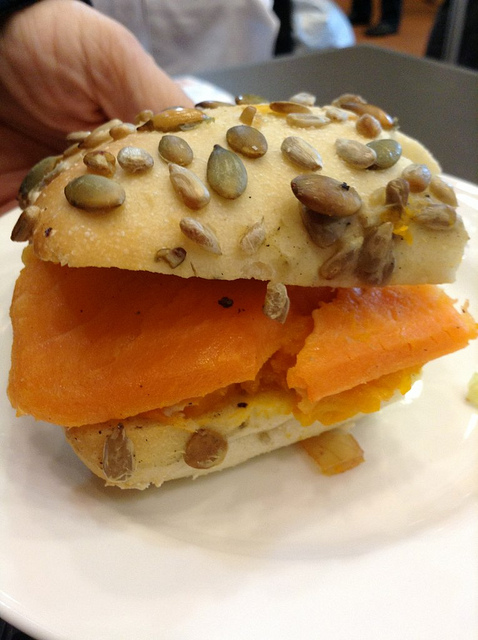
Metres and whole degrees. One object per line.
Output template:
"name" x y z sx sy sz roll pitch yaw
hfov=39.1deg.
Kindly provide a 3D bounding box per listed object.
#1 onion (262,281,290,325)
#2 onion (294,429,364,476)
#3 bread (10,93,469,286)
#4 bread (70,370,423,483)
"onion" 0.052 -0.022 0.846 0.041 0.044 0.012 1 10 -8
"onion" 0.145 0.198 1.013 0.099 0.054 0.083 -10 24 -18
"bread" -0.013 -0.176 0.919 0.855 0.284 0.102 -5 26 -8
"bread" -0.005 0.130 1.144 0.417 0.162 0.408 -5 22 -11
